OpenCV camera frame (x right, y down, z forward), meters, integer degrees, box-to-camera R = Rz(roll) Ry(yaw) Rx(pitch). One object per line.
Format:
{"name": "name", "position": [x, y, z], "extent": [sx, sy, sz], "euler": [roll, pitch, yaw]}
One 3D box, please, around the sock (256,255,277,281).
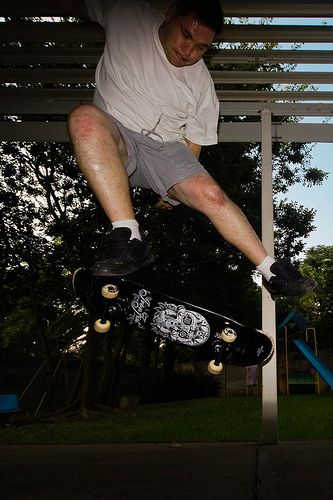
{"name": "sock", "position": [0.377, 0.069, 1.600], "extent": [0.068, 0.095, 0.061], "euler": [2, -5, 8]}

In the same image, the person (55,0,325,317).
{"name": "person", "position": [0.031, -0.538, 1.860], "extent": [0.934, 0.868, 1.458], "euler": [-4, 26, -24]}

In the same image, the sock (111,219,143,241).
{"name": "sock", "position": [-0.134, -0.072, 1.451], "extent": [0.116, 0.079, 0.068], "euler": [4, -5, -16]}
